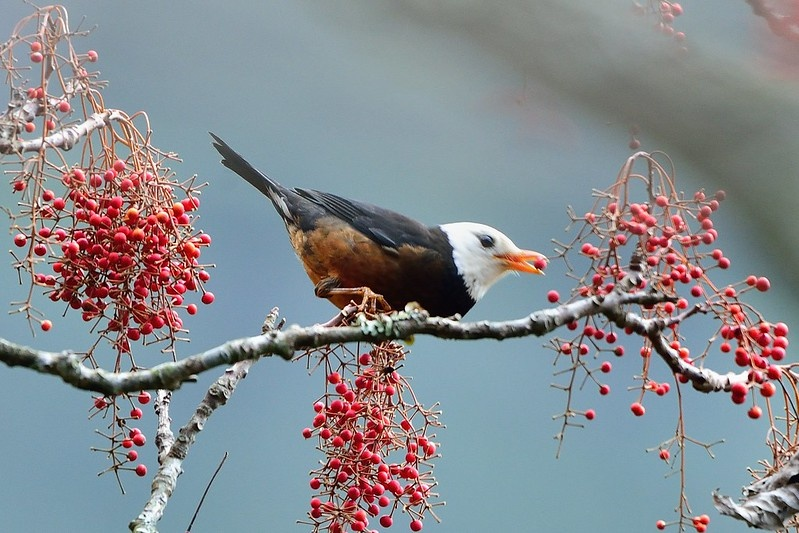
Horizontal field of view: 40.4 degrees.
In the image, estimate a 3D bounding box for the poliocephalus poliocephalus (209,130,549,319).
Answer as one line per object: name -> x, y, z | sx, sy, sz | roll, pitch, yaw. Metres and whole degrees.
poliocephalus poliocephalus -> -0.160, 0.010, 4.894 | 1.490, 0.724, 0.555 | 20, -31, 6
